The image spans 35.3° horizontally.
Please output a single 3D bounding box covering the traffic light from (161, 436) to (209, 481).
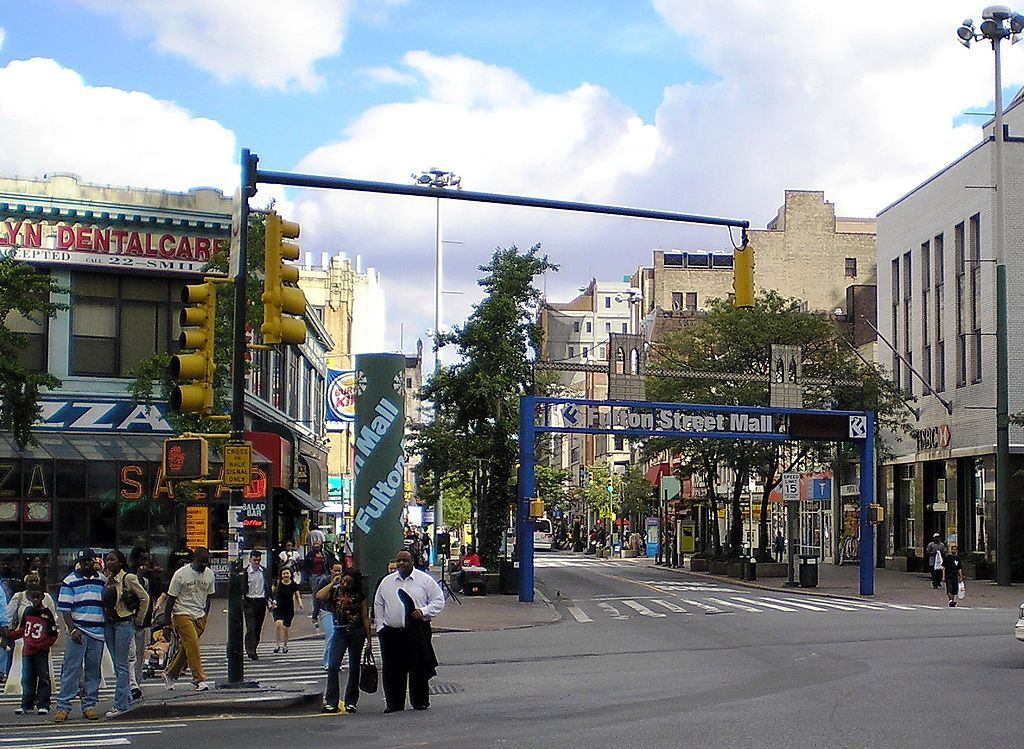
[{"bbox_3d":[-6.001,1.554,29.739,0.813,0.814,0.326,0,2,13],"label":"traffic light"}]

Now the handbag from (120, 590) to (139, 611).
[{"bbox_3d":[-7.000,4.211,29.781,0.141,0.352,0.410,-3,-8,26],"label":"handbag"}]

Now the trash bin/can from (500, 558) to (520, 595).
[{"bbox_3d":[-0.121,6.775,53.645,0.601,1.108,0.302,-1,-6,9],"label":"trash bin/can"}]

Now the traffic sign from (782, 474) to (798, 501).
[{"bbox_3d":[9.753,3.912,56.416,0.467,0.894,0.837,-1,-7,4],"label":"traffic sign"}]

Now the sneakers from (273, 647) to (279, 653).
[{"bbox_3d":[-5.386,6.357,36.901,0.124,0.176,0.174,5,-8,-10],"label":"sneakers"}]

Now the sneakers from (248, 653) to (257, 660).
[{"bbox_3d":[-5.668,6.230,35.315,0.237,0.151,0.190,6,-6,-2],"label":"sneakers"}]

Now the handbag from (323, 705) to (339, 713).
[{"bbox_3d":[-3.255,6.075,29.019,0.291,0.133,0.110,11,-10,-3],"label":"handbag"}]

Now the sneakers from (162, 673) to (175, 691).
[{"bbox_3d":[-6.677,6.054,31.428,0.150,0.375,0.125,-15,-12,2],"label":"sneakers"}]

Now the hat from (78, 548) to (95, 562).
[{"bbox_3d":[-7.848,3.396,29.784,0.287,0.271,0.429,2,-8,-15],"label":"hat"}]

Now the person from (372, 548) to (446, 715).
[{"bbox_3d":[-1.883,4.697,29.246,1.160,2.879,0.626,1,-6,-6],"label":"person"}]

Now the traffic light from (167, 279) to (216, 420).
[{"bbox_3d":[-5.847,-0.566,29.636,0.742,2.585,1.184,1,-6,-12],"label":"traffic light"}]

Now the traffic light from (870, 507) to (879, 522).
[{"bbox_3d":[12.017,4.621,53.309,0.231,0.485,0.506,-1,-7,8],"label":"traffic light"}]

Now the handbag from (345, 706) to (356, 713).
[{"bbox_3d":[-2.895,6.104,29.197,0.234,0.122,0.273,3,-8,-21],"label":"handbag"}]
